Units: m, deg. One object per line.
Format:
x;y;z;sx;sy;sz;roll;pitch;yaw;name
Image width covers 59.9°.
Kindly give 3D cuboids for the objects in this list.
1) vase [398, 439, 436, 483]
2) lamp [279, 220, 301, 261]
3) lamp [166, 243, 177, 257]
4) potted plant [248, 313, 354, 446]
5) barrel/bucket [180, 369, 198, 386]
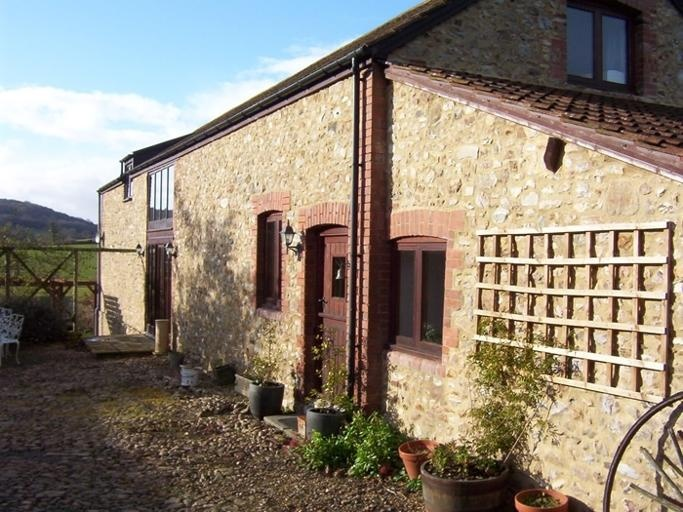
0.825;2.215;6.532;0.402;0.346;0.412;-2;-7;15;vase
-0.795;-0.238;9.032;0.268;0.592;0.529;-1;3;-24;lamp
-3.954;-0.185;13.922;0.339;0.397;0.355;-1;3;-29;lamp
-0.541;1.788;8.456;0.663;1.445;1.531;-2;3;-41;potted plant
-2.832;2.262;11.090;0.287;0.338;0.295;1;4;0;barrel/bucket
